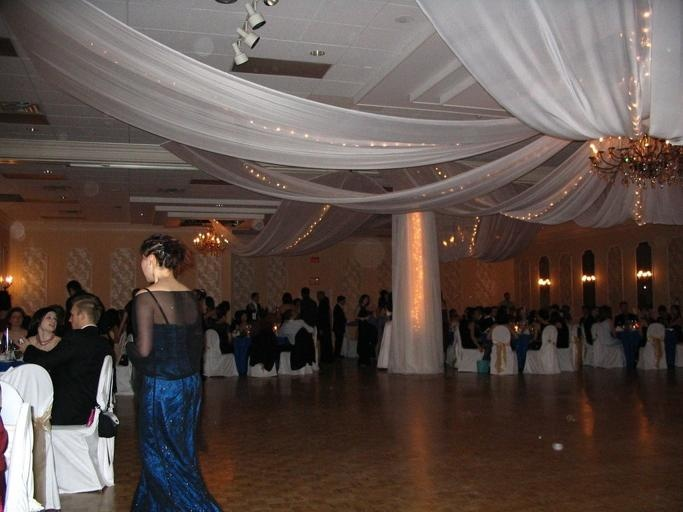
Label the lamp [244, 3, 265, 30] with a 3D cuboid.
[{"bbox_3d":[-0.696,-1.900,4.068,0.144,0.210,0.154,2,-5,-33],"label":"lamp"}]

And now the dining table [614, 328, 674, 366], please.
[{"bbox_3d":[7.010,1.975,11.752,1.203,1.050,0.944,-5,1,9],"label":"dining table"}]

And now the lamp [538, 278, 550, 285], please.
[{"bbox_3d":[6.841,0.849,17.563,0.211,0.219,0.057,-17,-6,21],"label":"lamp"}]

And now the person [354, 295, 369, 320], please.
[{"bbox_3d":[0.563,1.353,13.786,0.349,0.663,0.939,-1,-5,1],"label":"person"}]

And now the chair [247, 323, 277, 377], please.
[{"bbox_3d":[-1.599,1.884,10.685,0.582,1.146,0.426,0,-5,-11],"label":"chair"}]

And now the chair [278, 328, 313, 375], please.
[{"bbox_3d":[-0.955,2.081,11.452,0.841,1.154,0.831,-3,-9,24],"label":"chair"}]

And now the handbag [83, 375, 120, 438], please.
[{"bbox_3d":[-1.991,1.324,4.345,0.243,0.395,0.283,1,-5,-21],"label":"handbag"}]

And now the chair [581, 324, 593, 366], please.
[{"bbox_3d":[5.903,2.125,12.548,0.220,0.947,0.334,-2,-5,23],"label":"chair"}]

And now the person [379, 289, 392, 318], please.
[{"bbox_3d":[1.148,1.278,13.693,0.333,0.294,0.759,20,5,-4],"label":"person"}]

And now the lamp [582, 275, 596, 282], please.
[{"bbox_3d":[7.620,0.683,16.083,0.091,0.234,0.477,1,-5,-20],"label":"lamp"}]

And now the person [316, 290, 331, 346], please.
[{"bbox_3d":[-0.468,1.718,13.679,0.322,1.229,0.710,0,-4,-3],"label":"person"}]

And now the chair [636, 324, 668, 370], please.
[{"bbox_3d":[6.802,1.969,11.456,0.530,1.001,0.550,-3,-5,28],"label":"chair"}]

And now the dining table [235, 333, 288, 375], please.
[{"bbox_3d":[-1.668,1.983,11.004,0.991,0.782,0.989,6,-8,-39],"label":"dining table"}]

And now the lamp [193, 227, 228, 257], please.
[{"bbox_3d":[-3.769,-0.441,14.856,0.631,0.697,0.648,-23,3,-14],"label":"lamp"}]

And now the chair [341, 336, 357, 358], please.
[{"bbox_3d":[0.274,2.674,15.290,0.492,0.586,0.474,4,-8,-25],"label":"chair"}]
